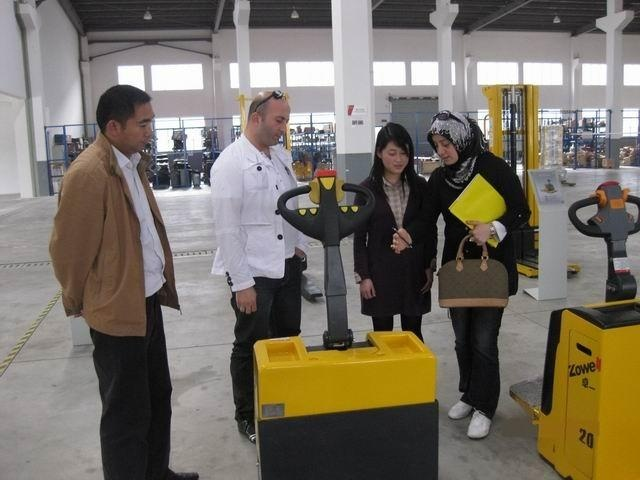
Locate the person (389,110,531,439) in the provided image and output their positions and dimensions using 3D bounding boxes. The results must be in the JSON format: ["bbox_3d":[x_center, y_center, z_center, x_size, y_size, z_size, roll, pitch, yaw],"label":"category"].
[{"bbox_3d":[0.775,0.176,2.743,0.618,1.689,0.433,2,9,24],"label":"person"}]

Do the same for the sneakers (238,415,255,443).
[{"bbox_3d":[-0.383,1.021,2.775,0.056,0.113,0.173,-5,2,-33],"label":"sneakers"}]

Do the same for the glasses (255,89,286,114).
[{"bbox_3d":[-0.223,-0.679,2.517,0.170,0.097,0.139,-9,11,-30],"label":"glasses"}]

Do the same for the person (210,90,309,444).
[{"bbox_3d":[-0.290,0.168,2.680,0.512,1.808,0.380,-10,12,-42],"label":"person"}]

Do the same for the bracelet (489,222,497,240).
[{"bbox_3d":[0.851,-0.039,2.523,0.030,0.069,0.055,1,4,16],"label":"bracelet"}]

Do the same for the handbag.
[{"bbox_3d":[0.795,0.173,2.614,0.310,0.401,0.128,-1,8,6],"label":"handbag"}]

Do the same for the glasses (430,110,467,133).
[{"bbox_3d":[0.660,-0.604,2.616,0.189,0.107,0.189,0,10,16],"label":"glasses"}]
